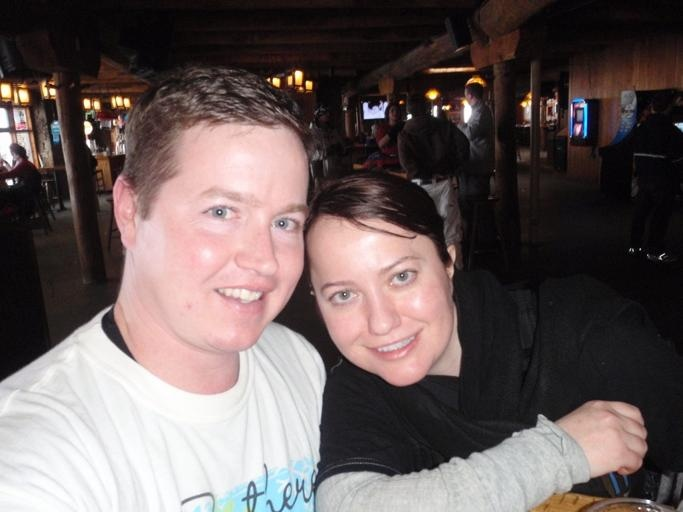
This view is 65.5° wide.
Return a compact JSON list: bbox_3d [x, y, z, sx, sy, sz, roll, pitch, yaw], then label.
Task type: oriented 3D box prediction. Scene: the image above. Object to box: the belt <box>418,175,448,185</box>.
[{"bbox_3d":[0.963,-0.820,5.679,0.284,0.064,0.261,-9,10,-5],"label":"belt"}]
